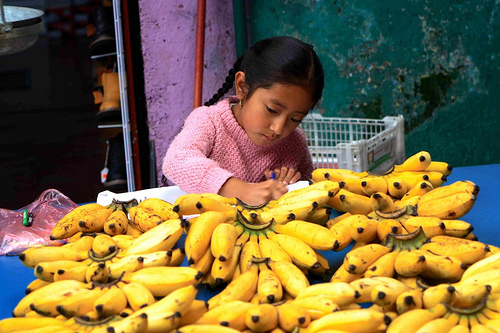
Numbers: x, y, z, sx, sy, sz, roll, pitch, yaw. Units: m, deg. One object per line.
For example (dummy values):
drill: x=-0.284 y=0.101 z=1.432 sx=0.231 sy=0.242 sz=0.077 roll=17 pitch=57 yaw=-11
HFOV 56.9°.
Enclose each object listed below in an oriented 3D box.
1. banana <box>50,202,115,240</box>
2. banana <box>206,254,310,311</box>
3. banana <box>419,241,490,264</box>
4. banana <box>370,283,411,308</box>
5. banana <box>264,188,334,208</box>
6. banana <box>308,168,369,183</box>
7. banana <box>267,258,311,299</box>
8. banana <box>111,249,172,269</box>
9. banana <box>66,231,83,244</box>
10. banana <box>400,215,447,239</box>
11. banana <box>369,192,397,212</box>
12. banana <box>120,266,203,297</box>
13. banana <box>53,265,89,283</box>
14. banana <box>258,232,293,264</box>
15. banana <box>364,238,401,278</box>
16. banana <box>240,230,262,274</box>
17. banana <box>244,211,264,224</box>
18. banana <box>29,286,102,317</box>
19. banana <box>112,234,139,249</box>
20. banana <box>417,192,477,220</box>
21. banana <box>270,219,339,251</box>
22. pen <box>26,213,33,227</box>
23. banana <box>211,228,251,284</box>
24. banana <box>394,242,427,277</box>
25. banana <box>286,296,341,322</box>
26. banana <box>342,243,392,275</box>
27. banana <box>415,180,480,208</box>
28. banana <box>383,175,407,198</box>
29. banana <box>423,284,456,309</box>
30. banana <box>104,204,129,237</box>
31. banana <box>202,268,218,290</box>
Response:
banana: x=-0.531 y=0.177 z=1.465 sx=0.149 sy=0.054 sz=0.046 roll=-33 pitch=-9 yaw=-20
banana: x=0.033 y=0.294 z=1.176 sx=0.135 sy=0.090 sz=0.157 roll=-23 pitch=-4 yaw=-29
banana: x=0.541 y=0.219 z=1.208 sx=0.136 sy=0.045 sz=0.075 roll=-3 pitch=13 yaw=13
banana: x=0.328 y=0.302 z=1.098 sx=0.090 sy=0.035 sz=0.047 roll=-9 pitch=51 yaw=2
banana: x=0.154 y=0.100 z=1.427 sx=0.119 sy=0.028 sz=0.045 roll=-13 pitch=-16 yaw=20
banana: x=0.318 y=0.033 z=1.642 sx=0.134 sy=0.040 sz=0.047 roll=-2 pitch=-34 yaw=4
banana: x=0.104 y=0.282 z=1.235 sx=0.047 sy=0.047 sz=0.138 roll=-26 pitch=28 yaw=-11
banana: x=-0.289 y=0.253 z=1.270 sx=0.171 sy=0.063 sz=0.049 roll=2 pitch=15 yaw=25
banana: x=-0.539 y=0.221 z=1.428 sx=0.043 sy=0.011 sz=0.031 roll=-46 pitch=20 yaw=-5
banana: x=0.480 y=0.171 z=1.308 sx=0.153 sy=0.062 sz=0.047 roll=-2 pitch=18 yaw=46
banana: x=0.383 y=0.107 z=1.341 sx=0.041 sy=0.079 sz=0.040 roll=-49 pitch=-2 yaw=36
banana: x=-0.230 y=0.294 z=1.203 sx=0.227 sy=0.078 sz=0.070 roll=-10 pitch=4 yaw=14
banana: x=-0.463 y=0.279 z=1.203 sx=0.061 sy=0.039 sz=0.043 roll=8 pitch=29 yaw=13
banana: x=0.056 y=0.221 z=1.306 sx=0.130 sy=0.044 sz=0.038 roll=35 pitch=70 yaw=29
banana: x=0.356 y=0.240 z=1.244 sx=0.042 sy=0.060 sz=0.166 roll=21 pitch=45 yaw=32
banana: x=0.007 y=0.254 z=1.284 sx=0.051 sy=0.161 sz=0.041 roll=9 pitch=-10 yaw=-28
banana: x=0.013 y=0.150 z=1.359 sx=0.040 sy=0.032 sz=0.016 roll=1 pitch=17 yaw=-3
banana: x=-0.442 y=0.321 z=1.179 sx=0.209 sy=0.061 sz=0.071 roll=-10 pitch=-11 yaw=-3
banana: x=-0.371 y=0.218 z=1.354 sx=0.031 sy=0.020 sz=0.059 roll=26 pitch=12 yaw=33
banana: x=0.561 y=0.111 z=1.339 sx=0.126 sy=0.038 sz=0.043 roll=-18 pitch=17 yaw=19
banana: x=0.145 y=0.192 z=1.285 sx=0.127 sy=0.037 sz=0.048 roll=17 pitch=19 yaw=20
pen: x=-0.751 y=0.181 z=1.579 sx=0.031 sy=0.037 sz=0.026 roll=3 pitch=8 yaw=-43
banana: x=-0.050 y=0.243 z=1.303 sx=0.047 sy=0.063 sz=0.187 roll=3 pitch=40 yaw=25
banana: x=0.401 y=0.228 z=1.148 sx=0.048 sy=0.049 sz=0.078 roll=-6 pitch=-26 yaw=5
banana: x=0.140 y=0.345 z=1.112 sx=0.154 sy=0.062 sz=0.053 roll=6 pitch=-2 yaw=-14
banana: x=0.318 y=0.218 z=1.244 sx=0.163 sy=0.051 sz=0.059 roll=-25 pitch=20 yaw=-30
banana: x=0.580 y=0.082 z=1.382 sx=0.117 sy=0.040 sz=0.034 roll=-24 pitch=23 yaw=1
banana: x=0.470 y=0.063 z=1.509 sx=0.039 sy=0.045 sz=0.087 roll=-44 pitch=4 yaw=6
banana: x=0.437 y=0.302 z=1.076 sx=0.070 sy=0.047 sz=0.043 roll=-8 pitch=-31 yaw=25
banana: x=-0.418 y=0.164 z=1.450 sx=0.066 sy=0.071 sz=0.157 roll=4 pitch=27 yaw=-9
banana: x=-0.111 y=0.310 z=1.253 sx=0.018 sy=0.071 sz=0.024 roll=-9 pitch=-28 yaw=33
